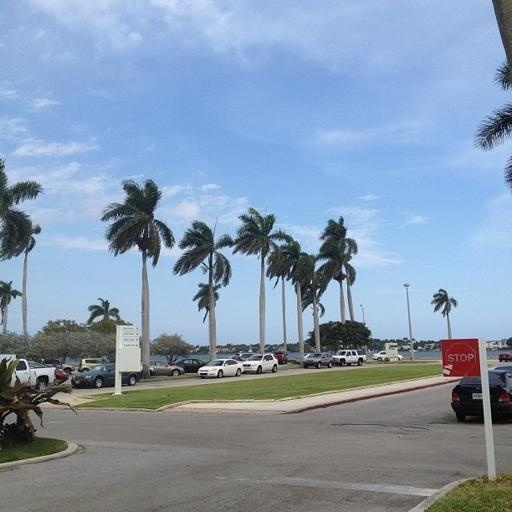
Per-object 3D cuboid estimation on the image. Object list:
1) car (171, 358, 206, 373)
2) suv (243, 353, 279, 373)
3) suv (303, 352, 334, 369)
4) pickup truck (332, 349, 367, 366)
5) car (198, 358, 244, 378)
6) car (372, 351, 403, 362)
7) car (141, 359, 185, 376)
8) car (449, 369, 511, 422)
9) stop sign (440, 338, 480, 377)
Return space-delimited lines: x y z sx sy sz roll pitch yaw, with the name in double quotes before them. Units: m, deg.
"car" -5.706 9.331 47.373 2.335 0.904 1.123 1 -3 -26
"suv" 0.214 8.645 44.558 1.257 1.137 2.685 -10 -18 32
"suv" 5.961 9.918 52.748 3.468 1.455 1.756 8 -15 -39
"pickup truck" 8.961 10.175 56.581 3.011 1.317 1.723 14 -22 -40
"car" -2.596 8.139 39.972 1.265 0.986 2.803 -13 -19 35
"car" 17.276 13.249 73.738 1.853 1.445 4.309 2 -13 -16
"car" -6.933 8.688 43.040 2.171 0.790 1.085 -1 -6 -13
"car" 6.045 3.747 14.794 1.560 1.270 1.364 -6 -12 19
"stop sign" 3.174 1.564 8.603 0.576 0.571 0.550 -7 -12 24
